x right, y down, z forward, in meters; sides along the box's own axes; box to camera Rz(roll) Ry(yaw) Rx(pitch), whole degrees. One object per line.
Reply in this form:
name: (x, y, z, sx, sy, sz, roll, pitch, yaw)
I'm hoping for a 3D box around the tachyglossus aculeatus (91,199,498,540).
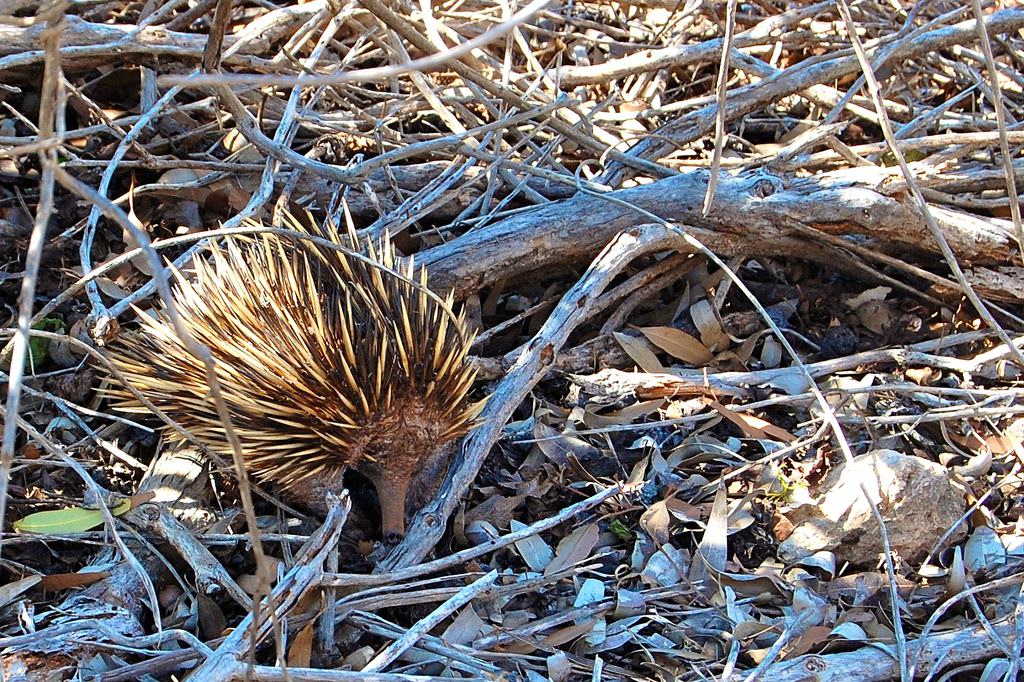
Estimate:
tachyglossus aculeatus: (-0.535, 0.032, 2.577, 0.924, 0.729, 0.658, 21, 64, 7)
